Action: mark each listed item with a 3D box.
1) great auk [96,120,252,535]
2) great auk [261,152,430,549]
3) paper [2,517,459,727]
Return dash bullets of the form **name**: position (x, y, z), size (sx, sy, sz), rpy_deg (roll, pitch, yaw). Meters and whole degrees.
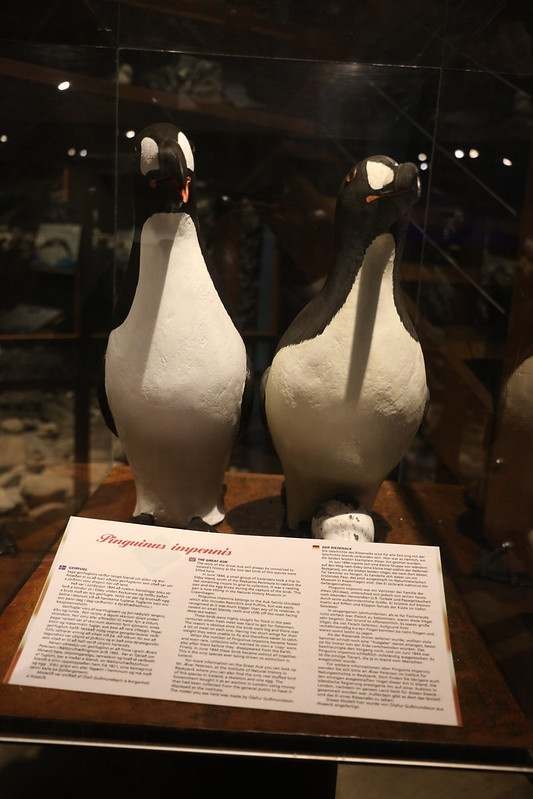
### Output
- **great auk**: position (-0.129, -0.076, 1.008), size (0.179, 0.584, 0.171), rpy_deg (18, 25, 31)
- **great auk**: position (0.100, -0.040, 0.983), size (0.235, 0.561, 0.158), rpy_deg (10, 22, 14)
- **paper**: position (-0.028, 0.252, 0.812), size (0.483, 0.144, 0.170), rpy_deg (5, 21, 3)
